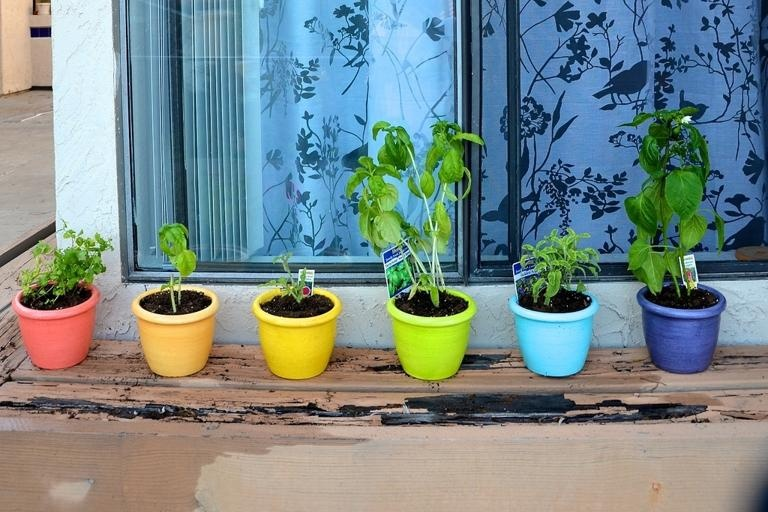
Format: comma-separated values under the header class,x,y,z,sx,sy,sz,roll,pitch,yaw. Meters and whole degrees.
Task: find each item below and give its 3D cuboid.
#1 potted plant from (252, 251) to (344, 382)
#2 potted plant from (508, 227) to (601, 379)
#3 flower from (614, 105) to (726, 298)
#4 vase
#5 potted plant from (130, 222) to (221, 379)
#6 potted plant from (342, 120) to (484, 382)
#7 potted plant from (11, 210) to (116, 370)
class,x,y,z,sx,sy,sz,roll,pitch,yaw
potted plant,-0.358,0.240,2.798,0.359,0.480,0.294,2,22,4
potted plant,0.680,0.190,2.775,0.326,0.587,0.287,20,29,41
flower,1.195,-0.247,2.823,0.462,0.764,0.578,10,24,25
vase,1.261,0.321,2.853,0.372,0.259,0.351,-11,12,-33
potted plant,-0.863,0.176,2.817,0.360,0.579,0.368,12,17,36
potted plant,0.124,-0.059,2.836,0.558,1.022,0.595,0,22,1
potted plant,-1.331,0.184,2.877,0.460,0.538,0.394,-12,20,-35
